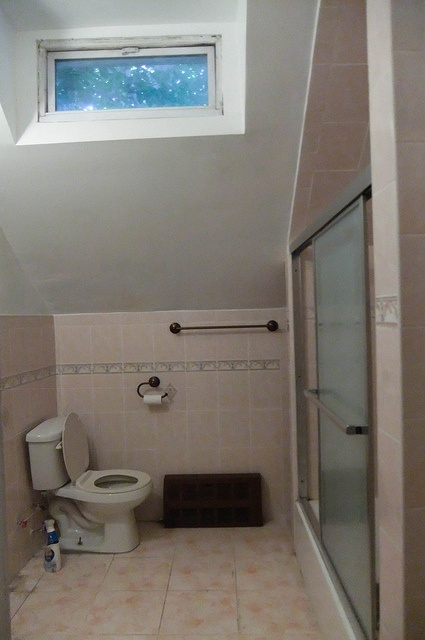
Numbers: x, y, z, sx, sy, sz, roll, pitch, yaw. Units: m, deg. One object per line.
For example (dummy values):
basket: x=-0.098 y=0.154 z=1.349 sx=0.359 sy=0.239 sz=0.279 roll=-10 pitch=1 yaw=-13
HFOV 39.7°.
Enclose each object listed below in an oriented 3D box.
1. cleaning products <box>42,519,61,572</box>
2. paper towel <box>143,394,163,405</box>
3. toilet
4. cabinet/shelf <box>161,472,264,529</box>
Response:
cleaning products: x=-0.746 y=1.028 z=2.716 sx=0.074 sy=0.226 sz=0.147 roll=-3 pitch=5 yaw=-18
paper towel: x=-0.324 y=0.434 z=3.174 sx=0.103 sy=0.070 sz=0.114 roll=-2 pitch=5 yaw=-7
toilet: x=-0.597 y=0.795 z=3.110 sx=0.720 sy=0.820 sz=0.469 roll=0 pitch=8 yaw=-2
cabinet/shelf: x=0.004 y=0.973 z=3.155 sx=0.504 sy=0.269 sz=0.137 roll=-2 pitch=-6 yaw=4
